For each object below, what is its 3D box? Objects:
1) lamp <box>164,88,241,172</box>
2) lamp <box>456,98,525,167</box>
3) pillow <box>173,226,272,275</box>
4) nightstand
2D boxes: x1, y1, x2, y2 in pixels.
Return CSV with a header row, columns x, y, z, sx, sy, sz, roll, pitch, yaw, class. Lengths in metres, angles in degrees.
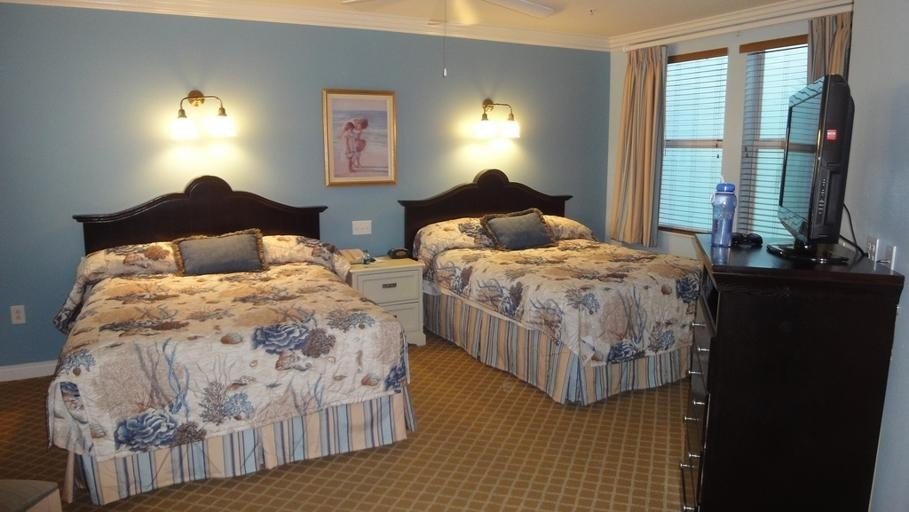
x,y,z,sx,sy,sz,roll,pitch,yaw,class
-2.597,-1.405,6.294,0.820,0.512,0.344,6,25,18,lamp
0.393,-1.478,7.358,0.832,0.716,0.436,5,13,22,lamp
-2.337,0.050,6.214,0.769,0.233,0.900,-4,-22,-30,pillow
-0.616,0.607,6.758,0.807,0.877,0.653,-6,-19,9,nightstand
